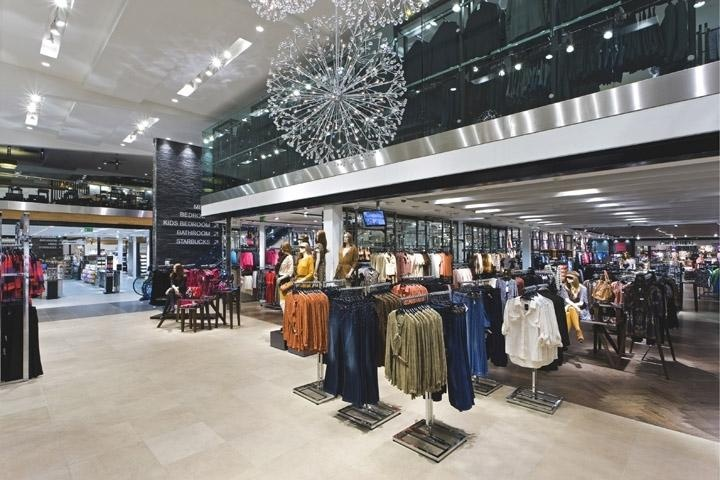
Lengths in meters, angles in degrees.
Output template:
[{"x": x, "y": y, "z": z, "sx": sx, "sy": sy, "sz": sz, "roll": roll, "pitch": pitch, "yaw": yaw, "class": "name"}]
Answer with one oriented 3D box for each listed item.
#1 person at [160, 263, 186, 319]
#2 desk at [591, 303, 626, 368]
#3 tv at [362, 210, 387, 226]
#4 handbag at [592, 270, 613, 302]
[{"x": -5.212, "y": 1.317, "z": 11.918, "sx": 0.692, "sy": 1.334, "sz": 0.468, "roll": 2, "pitch": 24, "yaw": -1, "class": "person"}, {"x": 5.307, "y": 2.006, "z": 8.849, "sx": 0.628, "sy": 0.901, "sz": 1.247, "roll": 1, "pitch": -1, "yaw": 37, "class": "desk"}, {"x": 0.400, "y": -0.627, "z": 12.357, "sx": 0.856, "sy": 0.532, "sz": 0.172, "roll": -12, "pitch": 18, "yaw": -38, "class": "tv"}, {"x": 5.380, "y": 1.001, "z": 9.150, "sx": 0.377, "sy": 0.571, "sz": 0.563, "roll": 8, "pitch": 16, "yaw": 31, "class": "handbag"}]
